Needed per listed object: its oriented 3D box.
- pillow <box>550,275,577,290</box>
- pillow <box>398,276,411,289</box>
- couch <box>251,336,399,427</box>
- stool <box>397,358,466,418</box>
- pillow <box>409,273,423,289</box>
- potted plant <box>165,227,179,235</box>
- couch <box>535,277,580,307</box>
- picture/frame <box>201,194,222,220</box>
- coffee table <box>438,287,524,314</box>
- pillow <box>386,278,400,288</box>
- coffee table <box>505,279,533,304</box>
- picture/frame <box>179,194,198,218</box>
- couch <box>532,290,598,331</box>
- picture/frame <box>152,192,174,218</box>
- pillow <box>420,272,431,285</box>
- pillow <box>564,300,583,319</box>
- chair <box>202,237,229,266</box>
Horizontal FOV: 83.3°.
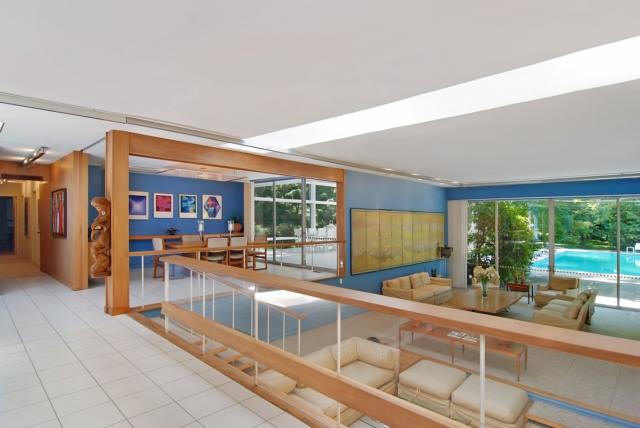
[{"bbox_3d":[6.306,1.783,9.372,0.437,0.402,0.450,0,-3,-35],"label":"pillow"},{"bbox_3d":[2.332,1.899,9.985,0.369,0.310,0.088,-3,-12,-40],"label":"pillow"},{"bbox_3d":[0.253,2.079,4.684,1.194,0.854,1.792,-2,-4,33],"label":"couch"},{"bbox_3d":[1.007,1.558,3.294,0.490,0.207,0.494,0,0,45],"label":"stool"},{"bbox_3d":[2.701,1.895,10.240,0.386,0.345,0.111,7,-21,-41],"label":"pillow"},{"bbox_3d":[-4.450,0.489,10.900,0.250,0.161,0.240,-2,2,-42],"label":"potted plant"},{"bbox_3d":[5.962,1.909,9.128,0.984,0.828,0.871,5,-4,-35],"label":"couch"},{"bbox_3d":[-3.593,-0.260,11.831,0.038,0.888,0.863,1,-4,37],"label":"picture/frame"},{"bbox_3d":[3.871,2.069,8.604,1.194,0.382,1.857,-2,-4,41],"label":"coffee table"},{"bbox_3d":[1.982,1.877,9.781,0.270,0.246,0.104,-5,-22,-32],"label":"pillow"},{"bbox_3d":[5.701,2.208,10.285,0.686,0.593,0.582,-3,-4,44],"label":"coffee table"},{"bbox_3d":[-4.165,-0.268,11.311,0.077,0.934,0.809,-5,-6,42],"label":"picture/frame"},{"bbox_3d":[4.947,2.058,7.292,0.899,0.899,2.478,-2,-4,38],"label":"couch"},{"bbox_3d":[-4.734,-0.279,10.809,0.070,0.930,0.845,-2,-3,44],"label":"picture/frame"},{"bbox_3d":[3.073,1.894,10.631,0.387,0.328,0.091,-2,-22,-36],"label":"pillow"},{"bbox_3d":[4.868,1.814,6.902,0.447,0.349,0.166,1,-3,-16],"label":"pillow"},{"bbox_3d":[-2.409,0.847,8.247,0.522,0.647,1.728,1,-3,-16],"label":"chair"}]
